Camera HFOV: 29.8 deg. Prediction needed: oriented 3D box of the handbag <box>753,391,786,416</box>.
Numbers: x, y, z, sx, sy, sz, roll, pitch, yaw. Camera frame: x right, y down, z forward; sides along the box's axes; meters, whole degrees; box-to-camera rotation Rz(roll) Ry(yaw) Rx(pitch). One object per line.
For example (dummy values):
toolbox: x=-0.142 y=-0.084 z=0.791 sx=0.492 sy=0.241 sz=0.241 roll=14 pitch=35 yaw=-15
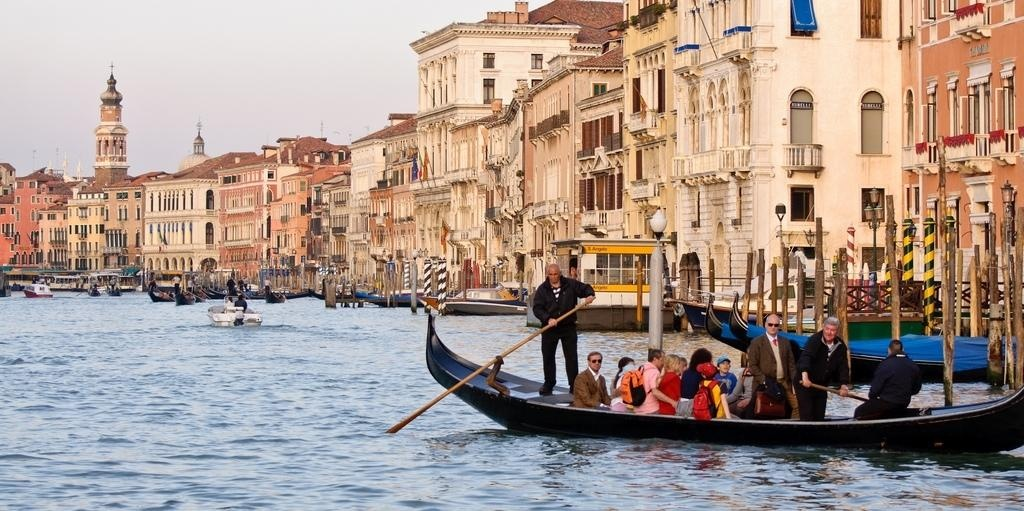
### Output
handbag: x=8.816 y=4.880 z=65.109 sx=1.030 sy=0.689 sz=0.334 roll=0 pitch=6 yaw=-18

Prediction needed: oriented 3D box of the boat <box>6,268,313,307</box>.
boat: x=-33.796 y=2.854 z=188.267 sx=50.460 sy=2.143 sz=4.092 roll=-1 pitch=-4 yaw=15
